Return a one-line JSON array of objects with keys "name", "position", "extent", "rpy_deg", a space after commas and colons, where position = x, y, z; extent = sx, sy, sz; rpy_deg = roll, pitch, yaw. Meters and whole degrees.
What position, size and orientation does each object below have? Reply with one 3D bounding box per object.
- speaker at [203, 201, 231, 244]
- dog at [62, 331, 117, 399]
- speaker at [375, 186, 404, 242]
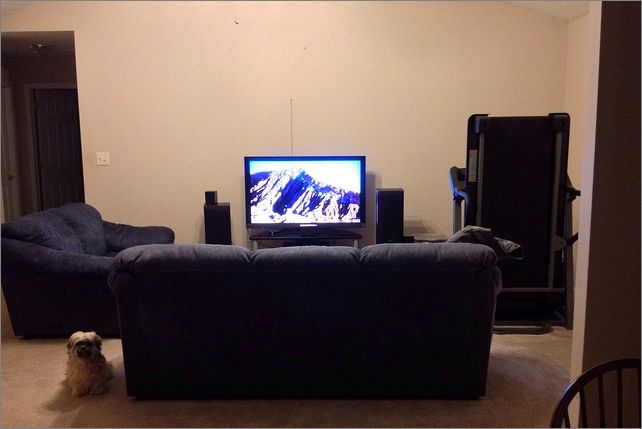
[{"name": "speaker", "position": [-1.222, 0.119, 6.303], "extent": [0.316, 0.463, 0.500], "rpy_deg": [0, 6, -12]}, {"name": "dog", "position": [-1.779, 1.183, 4.345], "extent": [0.352, 0.494, 0.483], "rpy_deg": [1, 0, -12]}, {"name": "speaker", "position": [0.806, 0.023, 6.239], "extent": [0.350, 0.637, 0.354], "rpy_deg": [2, 6, 7]}]
